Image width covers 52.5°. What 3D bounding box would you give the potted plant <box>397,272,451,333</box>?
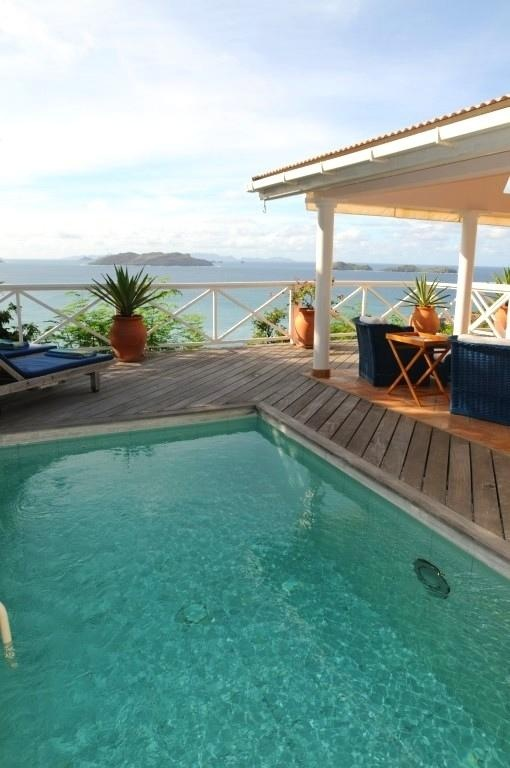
[{"bbox_3d":[2.682,-1.225,8.157,0.766,0.916,0.606,-4,9,1],"label":"potted plant"}]

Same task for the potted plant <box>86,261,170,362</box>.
[{"bbox_3d":[-1.667,-0.861,6.918,0.933,1.148,1.037,-8,-4,29],"label":"potted plant"}]

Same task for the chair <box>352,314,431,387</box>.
[{"bbox_3d":[1.467,-0.393,5.747,0.595,0.627,0.693,-6,13,-7],"label":"chair"}]

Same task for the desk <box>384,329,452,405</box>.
[{"bbox_3d":[1.775,-0.109,5.336,0.463,0.618,0.494,13,7,-11],"label":"desk"}]
